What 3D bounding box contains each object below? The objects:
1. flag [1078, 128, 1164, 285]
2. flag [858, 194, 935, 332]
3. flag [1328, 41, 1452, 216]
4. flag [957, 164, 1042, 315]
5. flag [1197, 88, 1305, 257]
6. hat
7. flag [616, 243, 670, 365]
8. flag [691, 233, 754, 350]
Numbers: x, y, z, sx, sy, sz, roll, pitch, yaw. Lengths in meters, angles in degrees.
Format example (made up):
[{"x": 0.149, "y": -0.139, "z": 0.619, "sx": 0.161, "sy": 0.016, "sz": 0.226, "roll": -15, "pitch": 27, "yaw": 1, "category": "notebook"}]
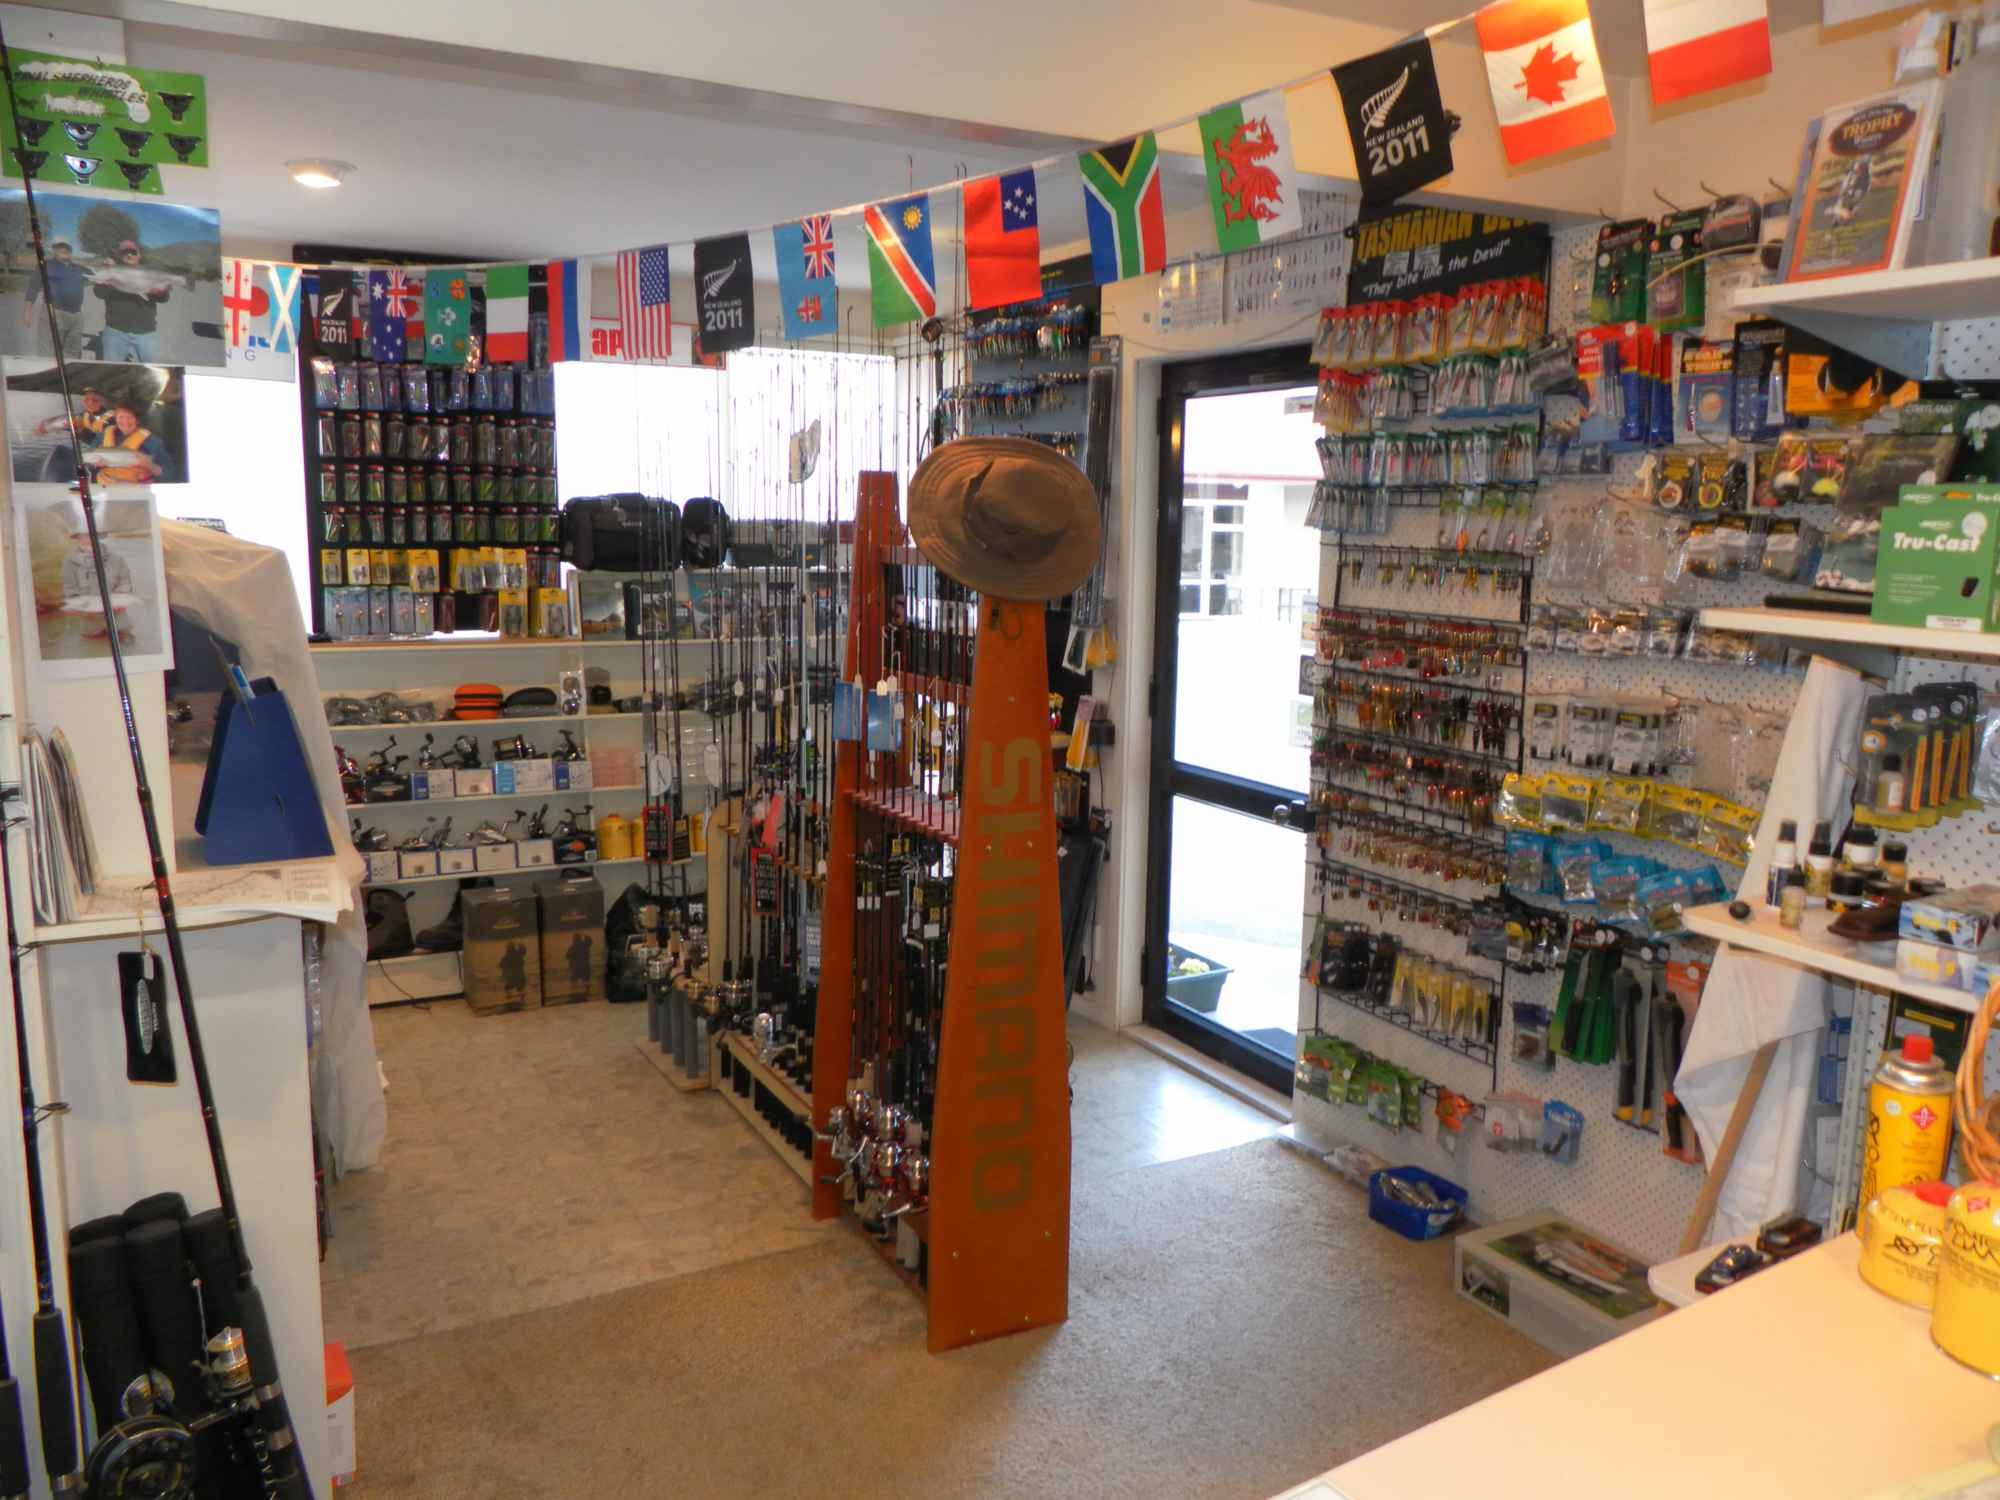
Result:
[{"x": 0.318, "y": -1.443, "z": 3.906, "sx": 0.243, "sy": 0.366, "sz": 0.238, "roll": 3, "pitch": 13, "yaw": 14, "category": "flag"}, {"x": -0.301, "y": -1.434, "z": 4.318, "sx": 0.187, "sy": 0.346, "sz": 0.325, "roll": -1, "pitch": 13, "yaw": -6, "category": "flag"}, {"x": 0.888, "y": -1.420, "z": 3.299, "sx": 0.156, "sy": 0.324, "sz": 0.267, "roll": -9, "pitch": 16, "yaw": -35, "category": "flag"}, {"x": -0.004, "y": -1.404, "z": 4.029, "sx": 0.206, "sy": 0.352, "sz": 0.210, "roll": -1, "pitch": 13, "yaw": -4, "category": "flag"}, {"x": 0.615, "y": -1.419, "z": 3.620, "sx": 0.254, "sy": 0.350, "sz": 0.188, "roll": 4, "pitch": 13, "yaw": 17, "category": "flag"}, {"x": 0.015, "y": -0.665, "z": 4.248, "sx": 0.561, "sy": 0.455, "sz": 0.296, "roll": -1, "pitch": 13, "yaw": -6, "category": "hat"}, {"x": -1.191, "y": -1.472, "z": 4.830, "sx": 0.296, "sy": 0.348, "sz": 0.110, "roll": 12, "pitch": 17, "yaw": 43, "category": "flag"}, {"x": -0.860, "y": -1.410, "z": 4.532, "sx": 0.317, "sy": 0.331, "sz": 0.134, "roll": 12, "pitch": 17, "yaw": 42, "category": "flag"}]
